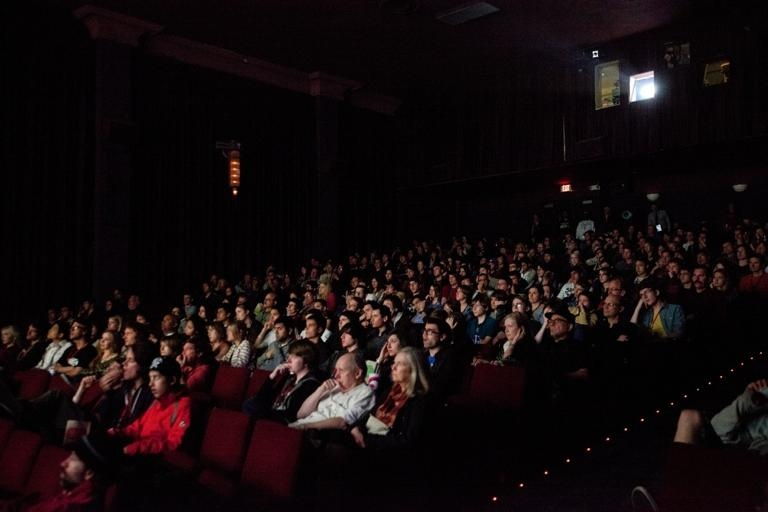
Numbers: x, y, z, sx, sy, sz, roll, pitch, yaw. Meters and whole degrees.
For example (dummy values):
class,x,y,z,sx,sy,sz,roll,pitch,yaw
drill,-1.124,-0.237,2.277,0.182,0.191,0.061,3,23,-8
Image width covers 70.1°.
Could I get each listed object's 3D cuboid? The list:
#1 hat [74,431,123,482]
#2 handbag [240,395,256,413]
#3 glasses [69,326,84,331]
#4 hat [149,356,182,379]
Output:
class,x,y,z,sx,sy,sz,roll,pitch,yaw
hat,-2.130,1.496,4.109,0.106,0.356,0.331,-42,12,2
handbag,-1.273,1.396,5.140,0.107,0.143,0.055,4,-3,26
glasses,-4.175,0.983,7.441,0.139,0.042,0.144,-9,-22,8
hat,-1.928,0.984,4.820,0.197,0.141,0.202,-17,-25,41
